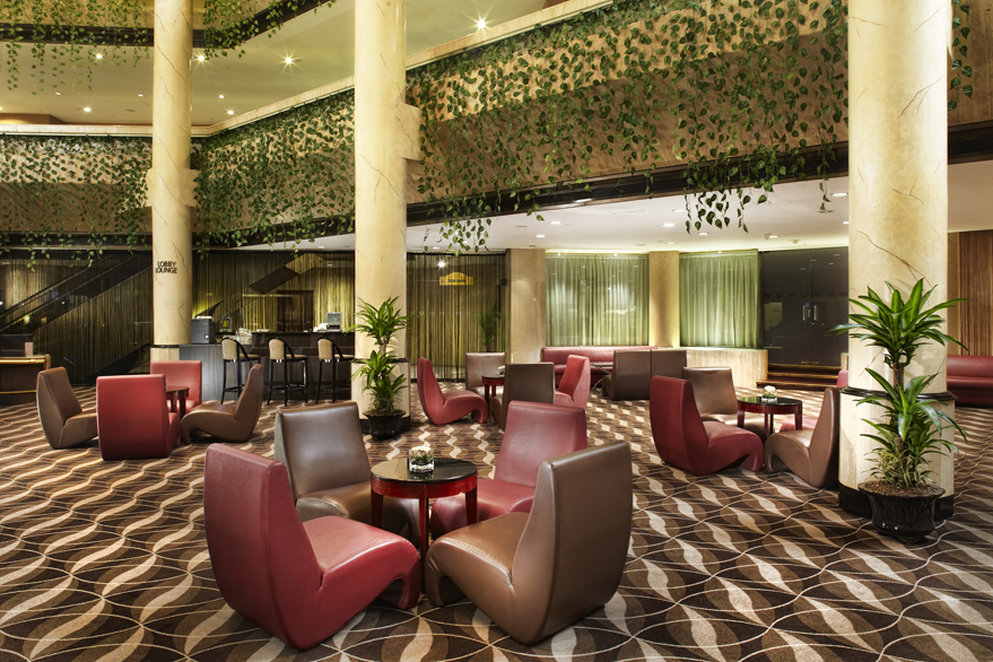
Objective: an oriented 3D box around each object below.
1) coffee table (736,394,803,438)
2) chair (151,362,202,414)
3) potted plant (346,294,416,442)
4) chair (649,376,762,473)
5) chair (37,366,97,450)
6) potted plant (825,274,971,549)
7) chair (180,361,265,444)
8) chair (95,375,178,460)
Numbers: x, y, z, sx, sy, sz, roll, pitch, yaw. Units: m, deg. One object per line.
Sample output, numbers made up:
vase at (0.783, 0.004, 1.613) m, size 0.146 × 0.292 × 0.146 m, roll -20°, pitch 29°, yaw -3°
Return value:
coffee table at (3.739, 1.045, 9.132) m, size 0.612 × 0.687 × 0.621 m, roll 5°, pitch 7°, yaw 40°
chair at (-4.921, 0.968, 10.264) m, size 0.453 × 0.551 × 0.469 m, roll -7°, pitch -7°, yaw -10°
potted plant at (-1.638, 0.582, 10.168) m, size 0.943 × 2.082 × 0.902 m, roll -1°, pitch -5°, yaw -17°
chair at (2.685, 1.113, 8.610) m, size 1.254 × 1.374 × 1.255 m, roll -1°, pitch 0°, yaw -16°
chair at (-6.160, 1.129, 9.974) m, size 1.171 × 1.077 × 1.192 m, roll 2°, pitch 3°, yaw -37°
potted plant at (4.116, 0.751, 6.814) m, size 1.101 × 2.568 × 1.003 m, roll 10°, pitch 18°, yaw 36°
chair at (-4.199, 1.112, 10.287) m, size 1.311 × 1.065 × 1.285 m, roll -3°, pitch 4°, yaw -26°
chair at (-5.025, 1.122, 9.385) m, size 0.822 × 1.169 × 1.089 m, roll 0°, pitch 7°, yaw -18°
